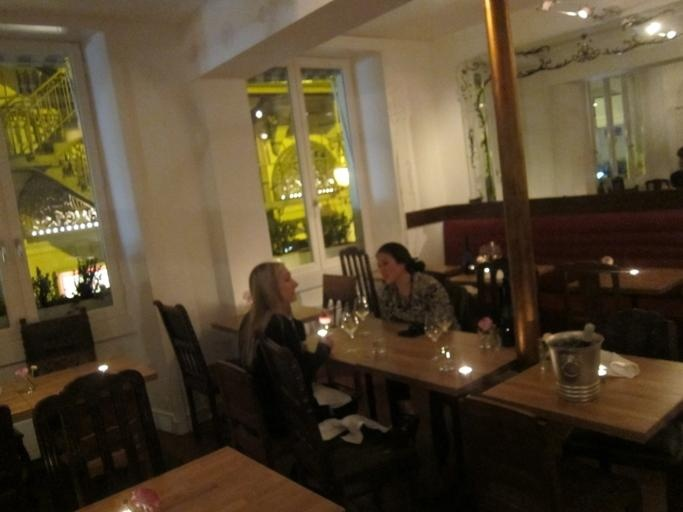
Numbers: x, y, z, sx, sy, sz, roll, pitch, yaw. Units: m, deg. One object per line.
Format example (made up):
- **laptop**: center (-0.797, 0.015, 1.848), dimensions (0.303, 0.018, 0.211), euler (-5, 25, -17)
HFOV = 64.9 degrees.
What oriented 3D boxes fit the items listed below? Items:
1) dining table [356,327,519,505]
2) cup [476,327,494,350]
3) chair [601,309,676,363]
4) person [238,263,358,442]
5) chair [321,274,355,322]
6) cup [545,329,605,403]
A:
- **dining table**: center (0.521, 0.863, 2.890), dimensions (0.622, 0.816, 0.839), euler (-12, 14, -38)
- **cup**: center (0.857, 0.483, 3.164), dimensions (0.100, 0.118, 0.103), euler (-2, 8, 0)
- **chair**: center (1.596, 0.422, 2.918), dimensions (0.255, 0.361, 0.286), euler (-4, -35, 28)
- **person**: center (-0.298, 0.545, 3.456), dimensions (0.699, 0.935, 0.778), euler (-4, -4, 3)
- **chair**: center (0.000, 0.308, 4.666), dimensions (0.263, 0.480, 0.286), euler (-1, -7, 21)
- **cup**: center (1.053, 0.508, 2.418), dimensions (0.254, 0.315, 0.245), euler (-9, 10, 2)
